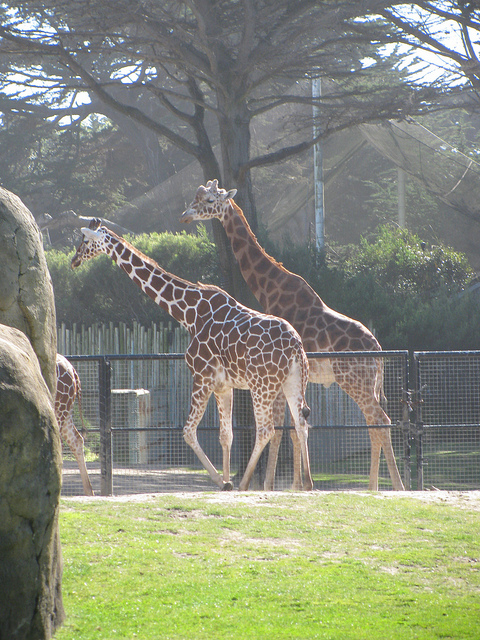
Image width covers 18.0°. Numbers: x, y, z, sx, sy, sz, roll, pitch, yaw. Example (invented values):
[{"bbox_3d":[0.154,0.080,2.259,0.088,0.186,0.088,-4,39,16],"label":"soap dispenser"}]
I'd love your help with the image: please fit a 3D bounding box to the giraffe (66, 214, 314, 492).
[{"bbox_3d":[-0.388,0.470,17.072,2.584,2.518,1.016,8,10,43],"label":"giraffe"}]
